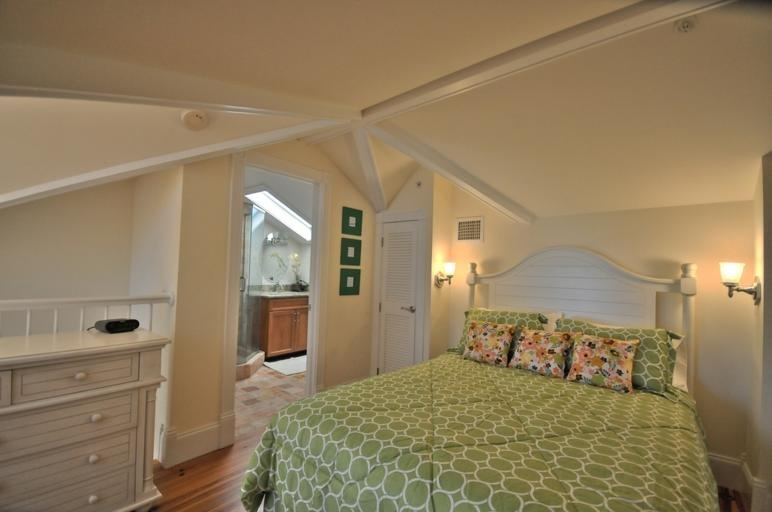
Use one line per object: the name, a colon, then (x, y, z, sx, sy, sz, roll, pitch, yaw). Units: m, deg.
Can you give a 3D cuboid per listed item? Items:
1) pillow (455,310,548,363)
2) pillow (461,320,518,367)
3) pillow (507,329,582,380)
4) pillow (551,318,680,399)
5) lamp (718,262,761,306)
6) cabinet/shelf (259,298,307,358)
pillow: (1.169, 0.683, 4.740, 0.526, 0.212, 0.783, -3, 6, -11)
pillow: (0.952, 0.792, 4.311, 0.396, 0.356, 0.120, 3, -21, 46)
pillow: (1.347, 0.821, 4.056, 0.422, 0.380, 0.126, 1, -30, 42)
pillow: (2.098, 0.814, 3.833, 0.672, 0.478, 0.179, 7, -28, 30)
lamp: (2.783, 0.223, 3.747, 0.280, 0.298, 0.169, 3, -2, 22)
cabinet/shelf: (-1.439, 0.987, 6.896, 0.475, 0.852, 0.972, 2, 0, 34)
